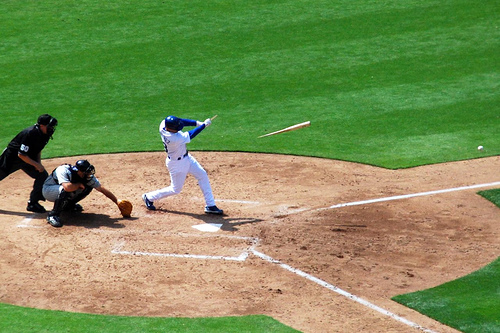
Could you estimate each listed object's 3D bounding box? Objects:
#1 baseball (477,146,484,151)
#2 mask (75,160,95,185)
[{"bbox_3d":[6.795,-0.549,22.959,0.158,0.055,0.140,-14,19,-27],"label":"baseball"},{"bbox_3d":[-4.051,0.166,19.448,0.355,0.693,0.247,-18,31,-20],"label":"mask"}]
